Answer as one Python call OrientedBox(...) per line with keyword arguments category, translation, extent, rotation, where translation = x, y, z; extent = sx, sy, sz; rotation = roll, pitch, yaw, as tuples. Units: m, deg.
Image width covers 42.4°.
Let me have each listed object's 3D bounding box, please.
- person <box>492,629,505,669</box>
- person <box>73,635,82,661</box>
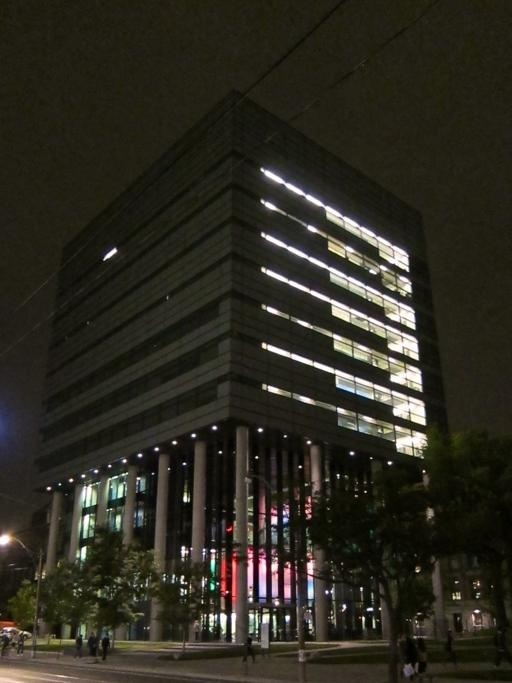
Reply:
OrientedBox(category="person", translation=(10.629, 13.293, 28.666), extent=(0.551, 1.470, 3.769), rotation=(-8, -27, 17))
OrientedBox(category="person", translation=(-11.607, 20.058, 43.449), extent=(0.381, 1.331, 1.626), rotation=(7, -27, -11))
